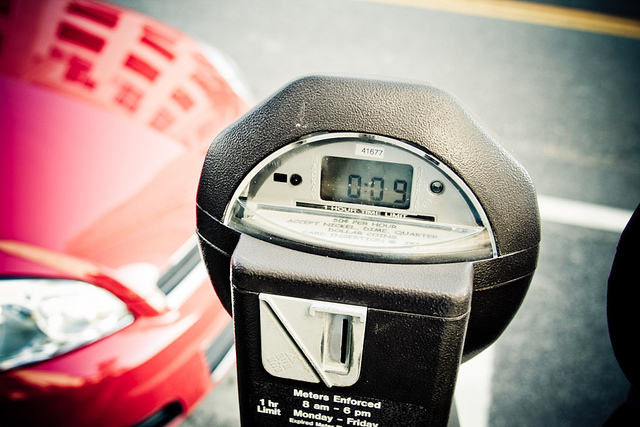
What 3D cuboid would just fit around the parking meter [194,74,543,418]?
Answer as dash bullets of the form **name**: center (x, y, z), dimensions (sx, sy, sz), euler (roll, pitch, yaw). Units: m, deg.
- **parking meter**: center (0.183, 0.134, 2.063), dimensions (0.973, 1.234, 0.976), euler (5, 25, 6)
